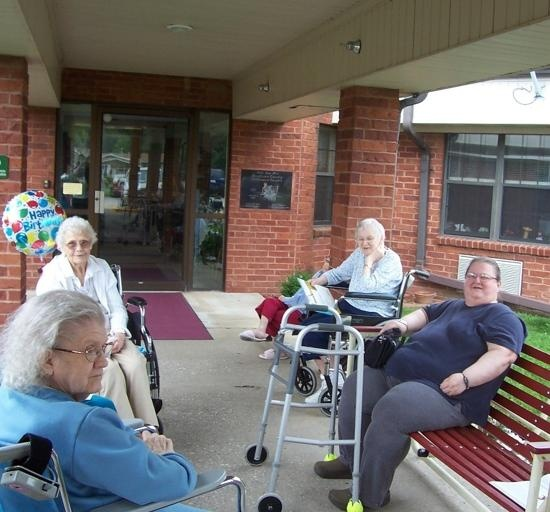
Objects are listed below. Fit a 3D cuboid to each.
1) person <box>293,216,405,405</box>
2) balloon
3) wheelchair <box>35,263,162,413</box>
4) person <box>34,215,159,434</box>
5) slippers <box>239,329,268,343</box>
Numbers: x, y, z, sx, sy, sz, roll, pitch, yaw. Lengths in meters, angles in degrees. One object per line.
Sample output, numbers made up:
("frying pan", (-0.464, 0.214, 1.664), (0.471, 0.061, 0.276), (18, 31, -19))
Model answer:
("person", (0.528, 0.400, 4.512), (1.074, 1.549, 0.955), (12, 15, 39))
("balloon", (-1.983, -0.278, 4.363), (0.504, 0.552, 0.550), (1, 9, -12))
("wheelchair", (-1.261, 0.574, 3.789), (0.942, 1.151, 0.862), (0, 10, -21))
("person", (-1.028, 0.557, 3.340), (0.919, 1.550, 0.929), (1, 11, -23))
("slippers", (-0.232, 0.845, 5.279), (0.348, 0.082, 0.126), (6, -10, -8))
